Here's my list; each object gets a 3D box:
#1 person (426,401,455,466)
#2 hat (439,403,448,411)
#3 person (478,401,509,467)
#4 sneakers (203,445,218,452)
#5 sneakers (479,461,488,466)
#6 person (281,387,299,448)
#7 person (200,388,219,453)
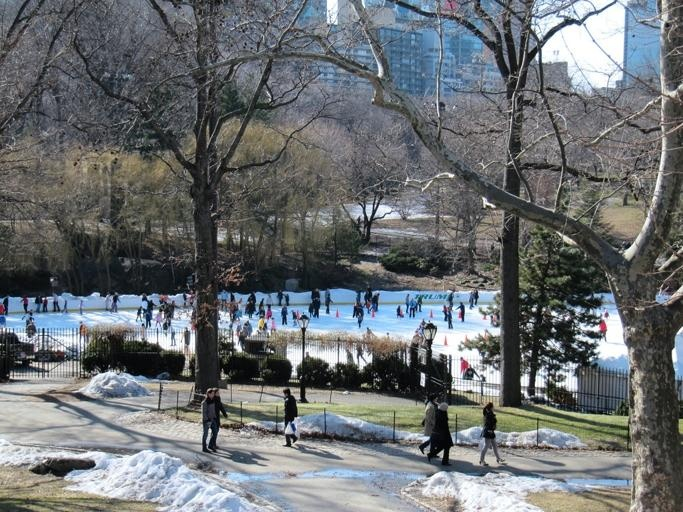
[{"bbox_3d":[3.436,6.173,48.187,0.825,2.145,1.102,1,-5,5],"label":"person"},{"bbox_3d":[3.476,5.187,47.933,0.221,0.279,0.314,9,15,28],"label":"hat"},{"bbox_3d":[5.220,6.205,48.542,0.773,2.181,1.566,1,-5,7],"label":"person"},{"bbox_3d":[-4.641,6.607,47.756,0.516,0.275,0.263,3,-5,-10],"label":"sneakers"},{"bbox_3d":[4.898,7.139,47.848,0.273,0.159,0.196,1,-5,0],"label":"sneakers"},{"bbox_3d":[-1.857,5.703,49.121,0.483,2.028,1.040,1,-4,-2],"label":"person"},{"bbox_3d":[-4.671,5.676,48.046,0.524,2.149,0.882,2,-4,-6],"label":"person"}]
